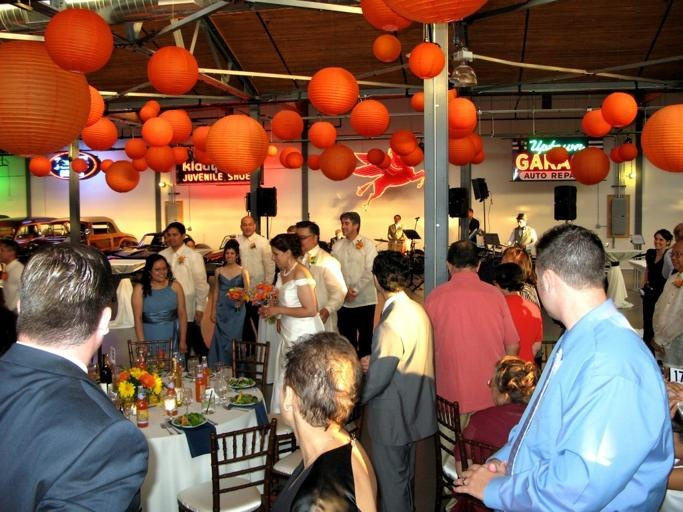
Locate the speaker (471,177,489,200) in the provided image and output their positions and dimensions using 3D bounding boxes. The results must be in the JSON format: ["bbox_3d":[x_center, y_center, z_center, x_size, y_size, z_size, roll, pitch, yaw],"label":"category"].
[{"bbox_3d":[3.654,-1.794,13.782,0.349,0.639,0.725,-3,-4,12],"label":"speaker"}]

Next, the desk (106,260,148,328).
[{"bbox_3d":[-3.123,0.543,7.443,0.758,0.900,0.807,-3,-6,5],"label":"desk"}]

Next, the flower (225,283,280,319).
[{"bbox_3d":[-0.995,0.485,6.056,0.404,0.311,0.421,-1,10,4],"label":"flower"}]

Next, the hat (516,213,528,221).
[{"bbox_3d":[5.040,-1.067,14.590,0.457,0.249,0.363,-6,8,-42],"label":"hat"}]

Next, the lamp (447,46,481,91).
[{"bbox_3d":[1.430,-2.240,6.145,0.344,0.530,0.339,4,14,33],"label":"lamp"}]
